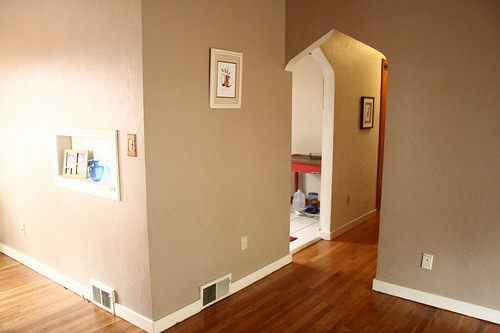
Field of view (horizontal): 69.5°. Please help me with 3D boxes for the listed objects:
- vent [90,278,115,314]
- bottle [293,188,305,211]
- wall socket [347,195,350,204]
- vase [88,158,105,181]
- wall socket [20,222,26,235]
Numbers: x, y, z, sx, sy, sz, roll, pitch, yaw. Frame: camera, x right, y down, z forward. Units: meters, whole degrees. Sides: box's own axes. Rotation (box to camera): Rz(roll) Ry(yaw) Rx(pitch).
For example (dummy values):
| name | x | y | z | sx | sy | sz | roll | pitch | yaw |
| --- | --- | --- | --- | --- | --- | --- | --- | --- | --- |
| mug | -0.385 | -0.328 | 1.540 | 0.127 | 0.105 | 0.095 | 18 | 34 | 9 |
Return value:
| name | x | y | z | sx | sy | sz | roll | pitch | yaw |
| --- | --- | --- | --- | --- | --- | --- | --- | --- | --- |
| vent | -1.451 | 1.286 | 3.571 | 0.314 | 0.231 | 0.038 | 13 | 20 | 37 |
| bottle | 0.850 | 0.577 | 6.284 | 0.199 | 0.341 | 0.392 | -1 | 6 | 9 |
| wall socket | 1.446 | 0.483 | 5.336 | 0.020 | 0.126 | 0.111 | 7 | 14 | 37 |
| vase | -1.534 | 0.031 | 3.602 | 0.186 | 0.263 | 0.180 | -3 | 4 | -20 |
| wall socket | -2.701 | 0.727 | 4.293 | 0.146 | 0.178 | 0.019 | 4 | 4 | 38 |
